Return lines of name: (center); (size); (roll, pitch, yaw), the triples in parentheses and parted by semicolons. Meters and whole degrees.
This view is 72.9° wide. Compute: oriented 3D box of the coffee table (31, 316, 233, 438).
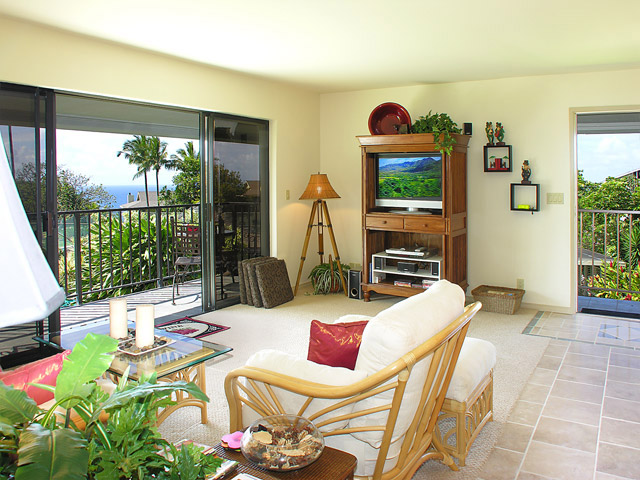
coffee table: (-1.012, 0.972, 2.796); (0.677, 0.638, 0.750); (-8, 11, -41)

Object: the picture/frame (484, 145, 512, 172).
picture/frame: (2.189, -1.015, 5.310); (0.335, 0.334, 0.113); (1, 2, 38)

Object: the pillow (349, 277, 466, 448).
pillow: (0.418, 0.601, 2.138); (0.305, 0.667, 0.732); (6, 11, 37)

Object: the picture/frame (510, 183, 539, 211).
picture/frame: (2.474, -0.533, 5.229); (0.331, 0.378, 0.110); (2, 3, 44)

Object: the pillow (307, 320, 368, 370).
pillow: (0.076, 0.532, 2.255); (0.263, 0.267, 0.107); (4, -12, 28)

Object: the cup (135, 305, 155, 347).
cup: (-1.083, 0.525, 2.673); (0.111, 0.276, 0.083); (-4, 10, -24)

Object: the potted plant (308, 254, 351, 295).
potted plant: (0.132, 0.479, 6.123); (0.488, 0.342, 0.485); (-1, 1, -8)

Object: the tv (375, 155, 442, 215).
tv: (1.137, -0.713, 5.418); (0.776, 0.667, 0.085); (2, 1, 27)
